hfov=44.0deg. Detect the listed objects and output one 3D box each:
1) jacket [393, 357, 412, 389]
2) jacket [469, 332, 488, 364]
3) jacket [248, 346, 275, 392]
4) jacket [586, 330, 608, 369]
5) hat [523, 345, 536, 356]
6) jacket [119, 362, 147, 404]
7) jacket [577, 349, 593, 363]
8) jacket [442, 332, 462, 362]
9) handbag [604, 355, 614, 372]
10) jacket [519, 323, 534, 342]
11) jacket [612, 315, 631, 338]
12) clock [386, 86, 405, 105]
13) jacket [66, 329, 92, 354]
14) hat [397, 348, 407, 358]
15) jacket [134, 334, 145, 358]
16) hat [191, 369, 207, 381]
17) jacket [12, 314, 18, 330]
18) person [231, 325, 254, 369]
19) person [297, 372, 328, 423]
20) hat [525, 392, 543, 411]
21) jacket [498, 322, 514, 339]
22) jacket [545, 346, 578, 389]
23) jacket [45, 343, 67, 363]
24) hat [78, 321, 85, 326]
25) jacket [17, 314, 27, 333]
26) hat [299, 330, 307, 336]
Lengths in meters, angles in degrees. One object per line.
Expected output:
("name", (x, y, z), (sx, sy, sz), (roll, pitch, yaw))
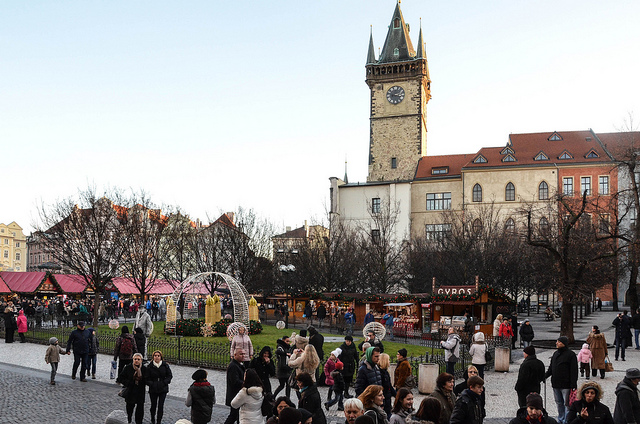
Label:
("jacket", (3.653, 6.917, 34.690), (0.750, 1.201, 1.319), (-3, -2, 11))
("jacket", (7.621, 6.938, 38.499), (0.849, 2.162, 0.747), (3, 0, -17))
("jacket", (-2.490, 6.857, 34.754), (1.125, 1.957, 0.914), (3, -7, -26))
("jacket", (13.968, 6.935, 40.201), (0.858, 1.952, 0.564), (-2, -7, 18))
("hat", (9.002, 5.963, 34.293), (0.415, 0.390, 0.407), (0, 7, 31))
("jacket", (-7.827, 7.501, 34.141), (1.366, 2.331, 0.870), (3, -8, -26))
("jacket", (13.112, 7.079, 39.232), (0.606, 0.668, 0.430), (3, -7, -30))
("jacket", (6.253, 6.600, 38.901), (1.183, 1.521, 1.406), (0, -8, 14))
("handbag", (14.816, 7.781, 40.887), (0.418, 0.937, 0.963), (-14, -16, 12))
("jacket", (12.317, 7.170, 47.503), (0.686, 1.112, 1.164), (-2, -6, 14))
("jacket", (16.920, 6.373, 44.449), (0.871, 1.244, 0.678), (0, -6, -6))
("clock", (9.205, -14.041, 96.283), (1.722, 1.715, 0.090), (43, 14, 22))
("jacket", (-11.719, 6.281, 38.992), (1.374, 1.223, 0.780), (5, -7, -42))
("hat", (3.606, 6.170, 34.863), (0.354, 0.356, 0.381), (0, -6, -3))
("jacket", (-8.564, 6.318, 38.075), (0.447, 0.958, 0.717), (-1, -6, 9))
("hat", (-4.898, 6.655, 32.562), (0.407, 0.177, 0.517), (8, 8, 44))
("jacket", (-18.734, 6.748, 48.965), (0.284, 0.931, 0.907), (2, -7, -21))
("person", (-3.626, 6.650, 37.137), (1.061, 2.627, 0.685), (-1, -7, -12))
("person", (-0.359, 7.307, 31.472), (1.105, 1.889, 0.709), (-2, -7, 12))
("hat", (8.164, 7.211, 30.369), (0.577, 0.621, 0.418), (-1, -6, 7))
("jacket", (11.165, 7.116, 47.990), (1.083, 0.826, 0.420), (8, -14, -40))
("jacket", (10.628, 6.843, 34.856), (1.191, 1.764, 0.469), (-2, -7, 14))
("jacket", (-12.789, 6.797, 38.329), (0.339, 0.870, 0.664), (-6, -9, 43))
("hat", (-11.592, 5.416, 38.737), (0.263, 0.221, 0.436), (2, -7, -20))
("jacket", (-18.232, 6.826, 48.822), (0.523, 1.105, 0.425), (2, -7, -20))
("hat", (-0.763, 5.657, 37.311), (0.295, 0.280, 0.436), (1, -6, -12))
